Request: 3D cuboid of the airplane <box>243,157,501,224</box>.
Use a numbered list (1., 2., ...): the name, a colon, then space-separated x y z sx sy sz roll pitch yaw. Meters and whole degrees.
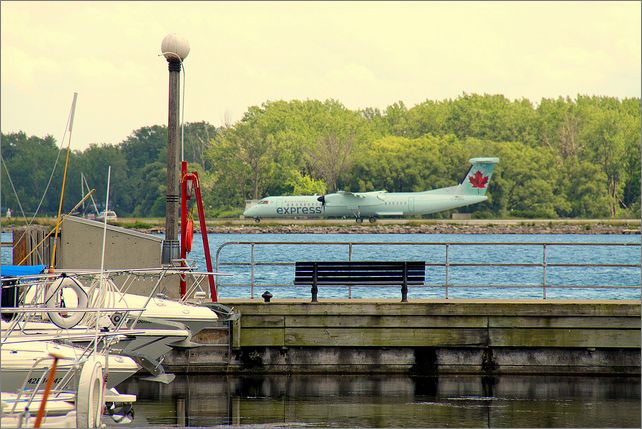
1. airplane: 6.324 -2.644 230.983 35.197 8.940 34.079 0 -3 18
